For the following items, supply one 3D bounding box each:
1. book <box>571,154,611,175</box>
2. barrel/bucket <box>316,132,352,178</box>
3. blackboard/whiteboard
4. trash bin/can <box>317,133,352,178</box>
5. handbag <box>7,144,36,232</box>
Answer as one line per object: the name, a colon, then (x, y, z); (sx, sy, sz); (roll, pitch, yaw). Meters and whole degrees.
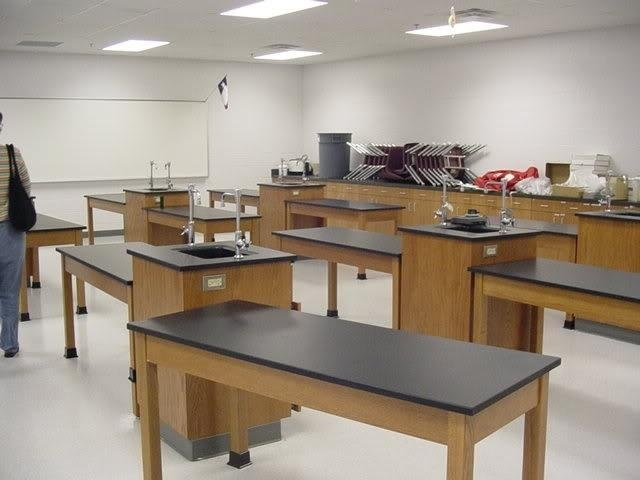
book: (3.899, -1.070, 6.831); (0.525, 0.295, 0.348); (-4, 12, -14)
barrel/bucket: (0.395, -1.745, 10.093); (0.933, 0.850, 0.875); (0, 5, 0)
blackboard/whiteboard: (-4.329, -1.993, 9.345); (3.101, 1.001, 0.039); (-3, 6, -30)
trash bin/can: (0.308, -1.809, 10.181); (0.904, 0.833, 0.806); (-5, 11, -12)
handbag: (-2.409, -0.408, 3.855); (0.167, 0.701, 0.229); (-1, 13, 3)
